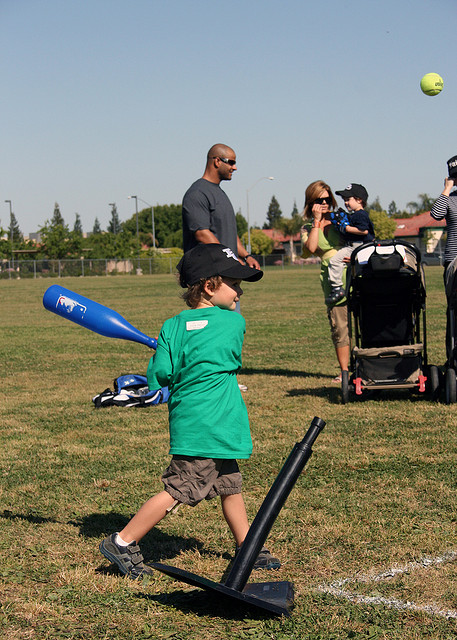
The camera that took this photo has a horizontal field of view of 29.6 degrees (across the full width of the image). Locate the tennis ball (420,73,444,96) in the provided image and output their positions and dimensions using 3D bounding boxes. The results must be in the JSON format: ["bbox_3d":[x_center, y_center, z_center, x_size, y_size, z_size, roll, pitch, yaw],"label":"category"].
[{"bbox_3d":[2.167,-2.540,9.300,0.214,0.246,0.240,-2,8,10],"label":"tennis ball"}]

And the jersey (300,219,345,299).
[{"bbox_3d":[0.883,-0.575,7.969,0.346,0.703,0.674,-6,8,-15],"label":"jersey"}]

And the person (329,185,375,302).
[{"bbox_3d":[1.055,-0.676,7.520,0.411,1.008,1.309,-2,7,8],"label":"person"}]

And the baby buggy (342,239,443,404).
[{"bbox_3d":[1.305,0.020,7.038,0.799,1.366,0.882,-2,8,12],"label":"baby buggy"}]

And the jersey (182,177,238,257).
[{"bbox_3d":[-0.149,-0.841,6.897,0.431,0.592,0.400,-4,8,-5],"label":"jersey"}]

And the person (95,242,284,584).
[{"bbox_3d":[-0.178,0.395,3.735,0.747,1.426,0.415,-4,8,-3],"label":"person"}]

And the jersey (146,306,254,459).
[{"bbox_3d":[-0.130,0.268,3.655,0.415,0.616,0.232,-4,8,-3],"label":"jersey"}]
